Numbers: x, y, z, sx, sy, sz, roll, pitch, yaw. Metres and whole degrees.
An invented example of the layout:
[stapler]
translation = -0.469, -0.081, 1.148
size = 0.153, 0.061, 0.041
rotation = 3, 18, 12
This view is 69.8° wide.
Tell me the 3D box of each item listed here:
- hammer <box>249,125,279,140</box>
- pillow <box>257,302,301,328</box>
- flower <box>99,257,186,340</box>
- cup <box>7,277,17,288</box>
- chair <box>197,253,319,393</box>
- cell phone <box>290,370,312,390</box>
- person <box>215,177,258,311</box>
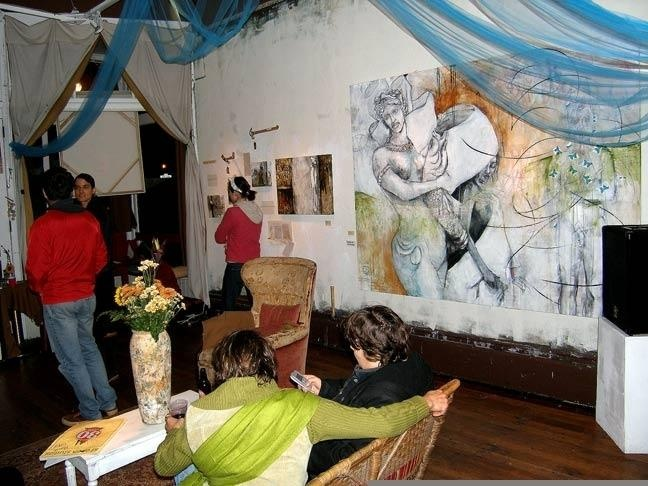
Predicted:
[hammer]
translation = -0.836, -1.512, 6.428
size = 0.115, 0.168, 0.597
rotation = -13, 15, -39
[pillow]
translation = -0.443, 0.695, 4.458
size = 0.514, 0.250, 0.202
rotation = 7, 16, 41
[flower]
translation = -1.273, 0.412, 3.389
size = 0.532, 0.599, 0.552
rotation = -12, -7, 41
[cup]
translation = -3.737, 0.474, 5.570
size = 0.103, 0.132, 0.107
rotation = 0, -6, 0
[chair]
translation = -0.595, 0.826, 4.317
size = 0.853, 1.285, 1.011
rotation = 3, 3, 29
[cell phone]
translation = -0.142, 0.768, 2.598
size = 0.042, 0.093, 0.150
rotation = -14, -42, 35
[person]
translation = -1.102, 0.217, 6.005
size = 0.539, 2.219, 0.557
rotation = -11, 31, -33
